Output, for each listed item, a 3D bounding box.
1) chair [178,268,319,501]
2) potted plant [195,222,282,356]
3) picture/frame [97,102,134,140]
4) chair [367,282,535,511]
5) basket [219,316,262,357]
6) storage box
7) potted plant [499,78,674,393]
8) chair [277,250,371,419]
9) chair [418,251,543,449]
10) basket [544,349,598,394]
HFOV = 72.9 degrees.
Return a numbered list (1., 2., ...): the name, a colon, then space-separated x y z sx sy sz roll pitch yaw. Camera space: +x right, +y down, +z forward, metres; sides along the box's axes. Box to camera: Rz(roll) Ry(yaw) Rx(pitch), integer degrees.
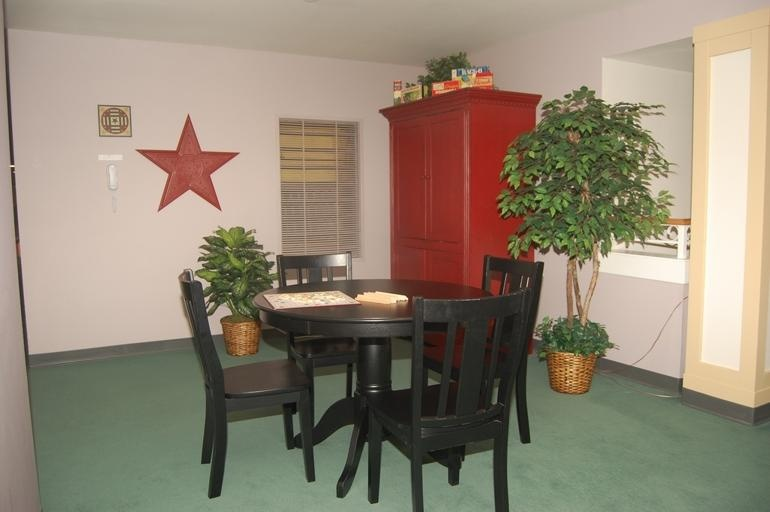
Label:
1. chair: -0.847 0.747 3.280 0.748 1.343 0.478 -4 14 -13
2. potted plant: -1.510 0.425 5.510 0.712 1.201 0.595 -2 2 36
3. picture/frame: -2.755 -1.382 5.291 0.393 0.419 0.045 -3 9 -20
4. chair: 0.353 0.832 2.887 0.918 1.330 0.463 -2 14 -3
5. basket: -1.476 0.806 5.407 0.413 0.311 0.391 -1 2 -26
6. storage box: 0.576 -1.760 5.385 0.366 0.303 1.201 -11 16 -38
7. potted plant: 1.744 -0.163 4.566 1.432 2.523 1.032 -5 14 -15
8. chair: -0.494 0.456 3.862 0.631 1.119 0.664 3 -14 -17
9. chair: 0.648 0.771 3.755 0.764 0.993 0.759 0 5 9
10. basket: 1.620 0.984 4.546 0.491 0.359 0.464 6 -5 -23
